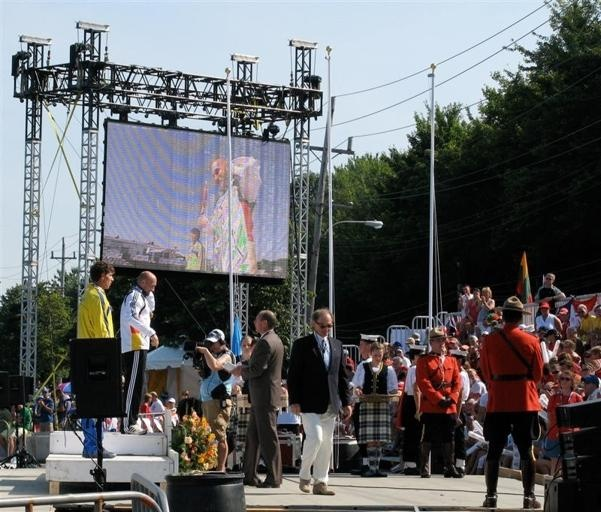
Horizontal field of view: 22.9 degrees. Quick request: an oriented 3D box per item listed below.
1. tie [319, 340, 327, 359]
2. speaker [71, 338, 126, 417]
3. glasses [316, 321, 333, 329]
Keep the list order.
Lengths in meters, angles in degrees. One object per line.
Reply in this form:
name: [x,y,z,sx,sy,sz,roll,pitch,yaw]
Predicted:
tie: [0.398,1.631,26.337,0.134,0.295,0.054,1,-6,-24]
speaker: [-3.416,2.038,24.855,0.839,1.346,0.238,0,-6,-10]
glasses: [0.452,1.219,26.365,0.195,0.124,0.333,-7,-8,44]
